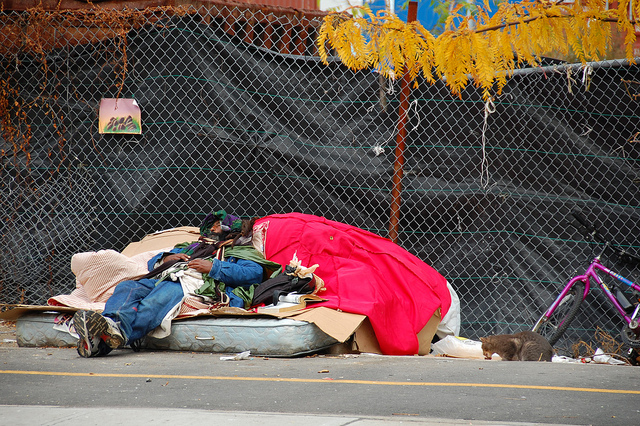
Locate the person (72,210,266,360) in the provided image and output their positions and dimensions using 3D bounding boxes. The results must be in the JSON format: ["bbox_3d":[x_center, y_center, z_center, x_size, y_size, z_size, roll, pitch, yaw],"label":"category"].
[{"bbox_3d":[-1.483,0.627,7.352,1.511,1.173,2.481,0,9,30],"label":"person"}]

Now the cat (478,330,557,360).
[{"bbox_3d":[2.033,1.379,7.252,0.694,0.282,0.253,3,7,25],"label":"cat"}]
